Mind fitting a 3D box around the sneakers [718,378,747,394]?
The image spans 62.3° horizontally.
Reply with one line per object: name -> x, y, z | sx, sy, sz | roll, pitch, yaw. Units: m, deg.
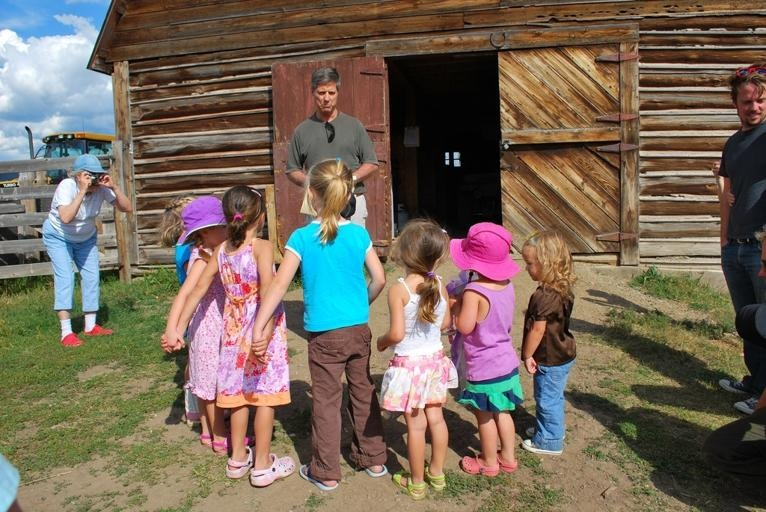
sneakers -> 3.734, 1.392, 6.810 | 0.297, 0.120, 0.107 | 13, 28, 23

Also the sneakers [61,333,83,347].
sneakers -> -3.770, 1.011, 7.672 | 0.272, 0.133, 0.168 | -3, 9, -3

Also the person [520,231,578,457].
person -> 1.535, 0.797, 5.854 | 0.487, 2.046, 0.350 | 0, 10, 11

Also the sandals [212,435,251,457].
sandals -> -1.401, 1.787, 6.019 | 0.384, 0.167, 0.166 | -3, 4, -38

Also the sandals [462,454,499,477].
sandals -> 0.869, 1.903, 5.712 | 0.267, 0.109, 0.162 | 6, 4, 20

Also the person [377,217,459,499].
person -> 0.314, 0.891, 5.593 | 0.705, 2.389, 0.511 | -4, 9, -9

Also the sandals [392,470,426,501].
sandals -> 0.237, 2.007, 5.614 | 0.149, 0.126, 0.293 | -11, 38, -46

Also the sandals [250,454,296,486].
sandals -> -0.969, 1.916, 5.710 | 0.185, 0.180, 0.416 | 2, 6, 38

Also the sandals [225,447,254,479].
sandals -> -1.293, 1.895, 5.774 | 0.127, 0.138, 0.323 | 1, 6, 13

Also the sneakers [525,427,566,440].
sneakers -> 1.554, 1.677, 6.033 | 0.373, 0.149, 0.138 | 1, 1, 14

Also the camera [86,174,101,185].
camera -> -3.506, -0.934, 7.724 | 0.156, 0.140, 0.081 | -10, 12, -40

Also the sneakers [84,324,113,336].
sneakers -> -3.594, 0.935, 8.040 | 0.271, 0.110, 0.141 | -1, 3, -4

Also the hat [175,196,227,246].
hat -> -1.680, -0.353, 5.884 | 0.408, 0.216, 0.403 | -22, 7, 21

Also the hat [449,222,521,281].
hat -> 0.938, -0.048, 5.651 | 0.544, 0.289, 0.525 | 26, 38, 13

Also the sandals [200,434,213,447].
sandals -> -1.680, 1.758, 6.050 | 0.098, 0.090, 0.110 | 9, -13, -27

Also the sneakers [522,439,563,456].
sneakers -> 1.504, 1.786, 5.937 | 0.338, 0.135, 0.137 | 7, -3, 12

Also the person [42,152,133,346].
person -> -3.683, -0.110, 7.863 | 0.867, 2.266, 0.591 | -7, 11, -28

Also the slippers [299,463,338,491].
slippers -> -0.568, 1.982, 5.642 | 0.351, 0.153, 0.153 | 5, 3, 44

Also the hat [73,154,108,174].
hat -> -3.558, -1.115, 7.726 | 0.350, 0.204, 0.252 | 1, 2, -11
